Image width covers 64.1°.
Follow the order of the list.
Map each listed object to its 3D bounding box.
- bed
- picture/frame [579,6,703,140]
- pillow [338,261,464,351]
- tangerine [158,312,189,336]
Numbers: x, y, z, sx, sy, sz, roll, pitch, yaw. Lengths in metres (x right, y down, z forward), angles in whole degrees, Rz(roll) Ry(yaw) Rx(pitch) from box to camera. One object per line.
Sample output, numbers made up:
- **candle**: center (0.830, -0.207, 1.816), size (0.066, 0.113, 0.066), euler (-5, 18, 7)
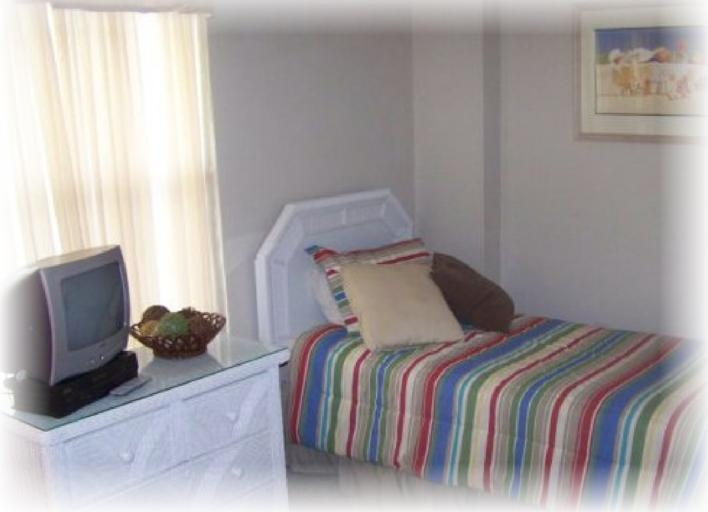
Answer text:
- **bed**: center (0.403, 0.320, 2.269), size (1.483, 0.866, 0.983), euler (4, 26, 26)
- **picture/frame**: center (0.693, -0.436, 1.344), size (0.358, 0.333, 0.040), euler (3, 9, 23)
- **pillow**: center (0.181, 0.194, 2.316), size (0.385, 0.109, 0.404), euler (-4, 56, -23)
- **tangerine**: center (-0.586, 0.217, 1.851), size (0.076, 0.073, 0.092), euler (-6, -3, -14)
